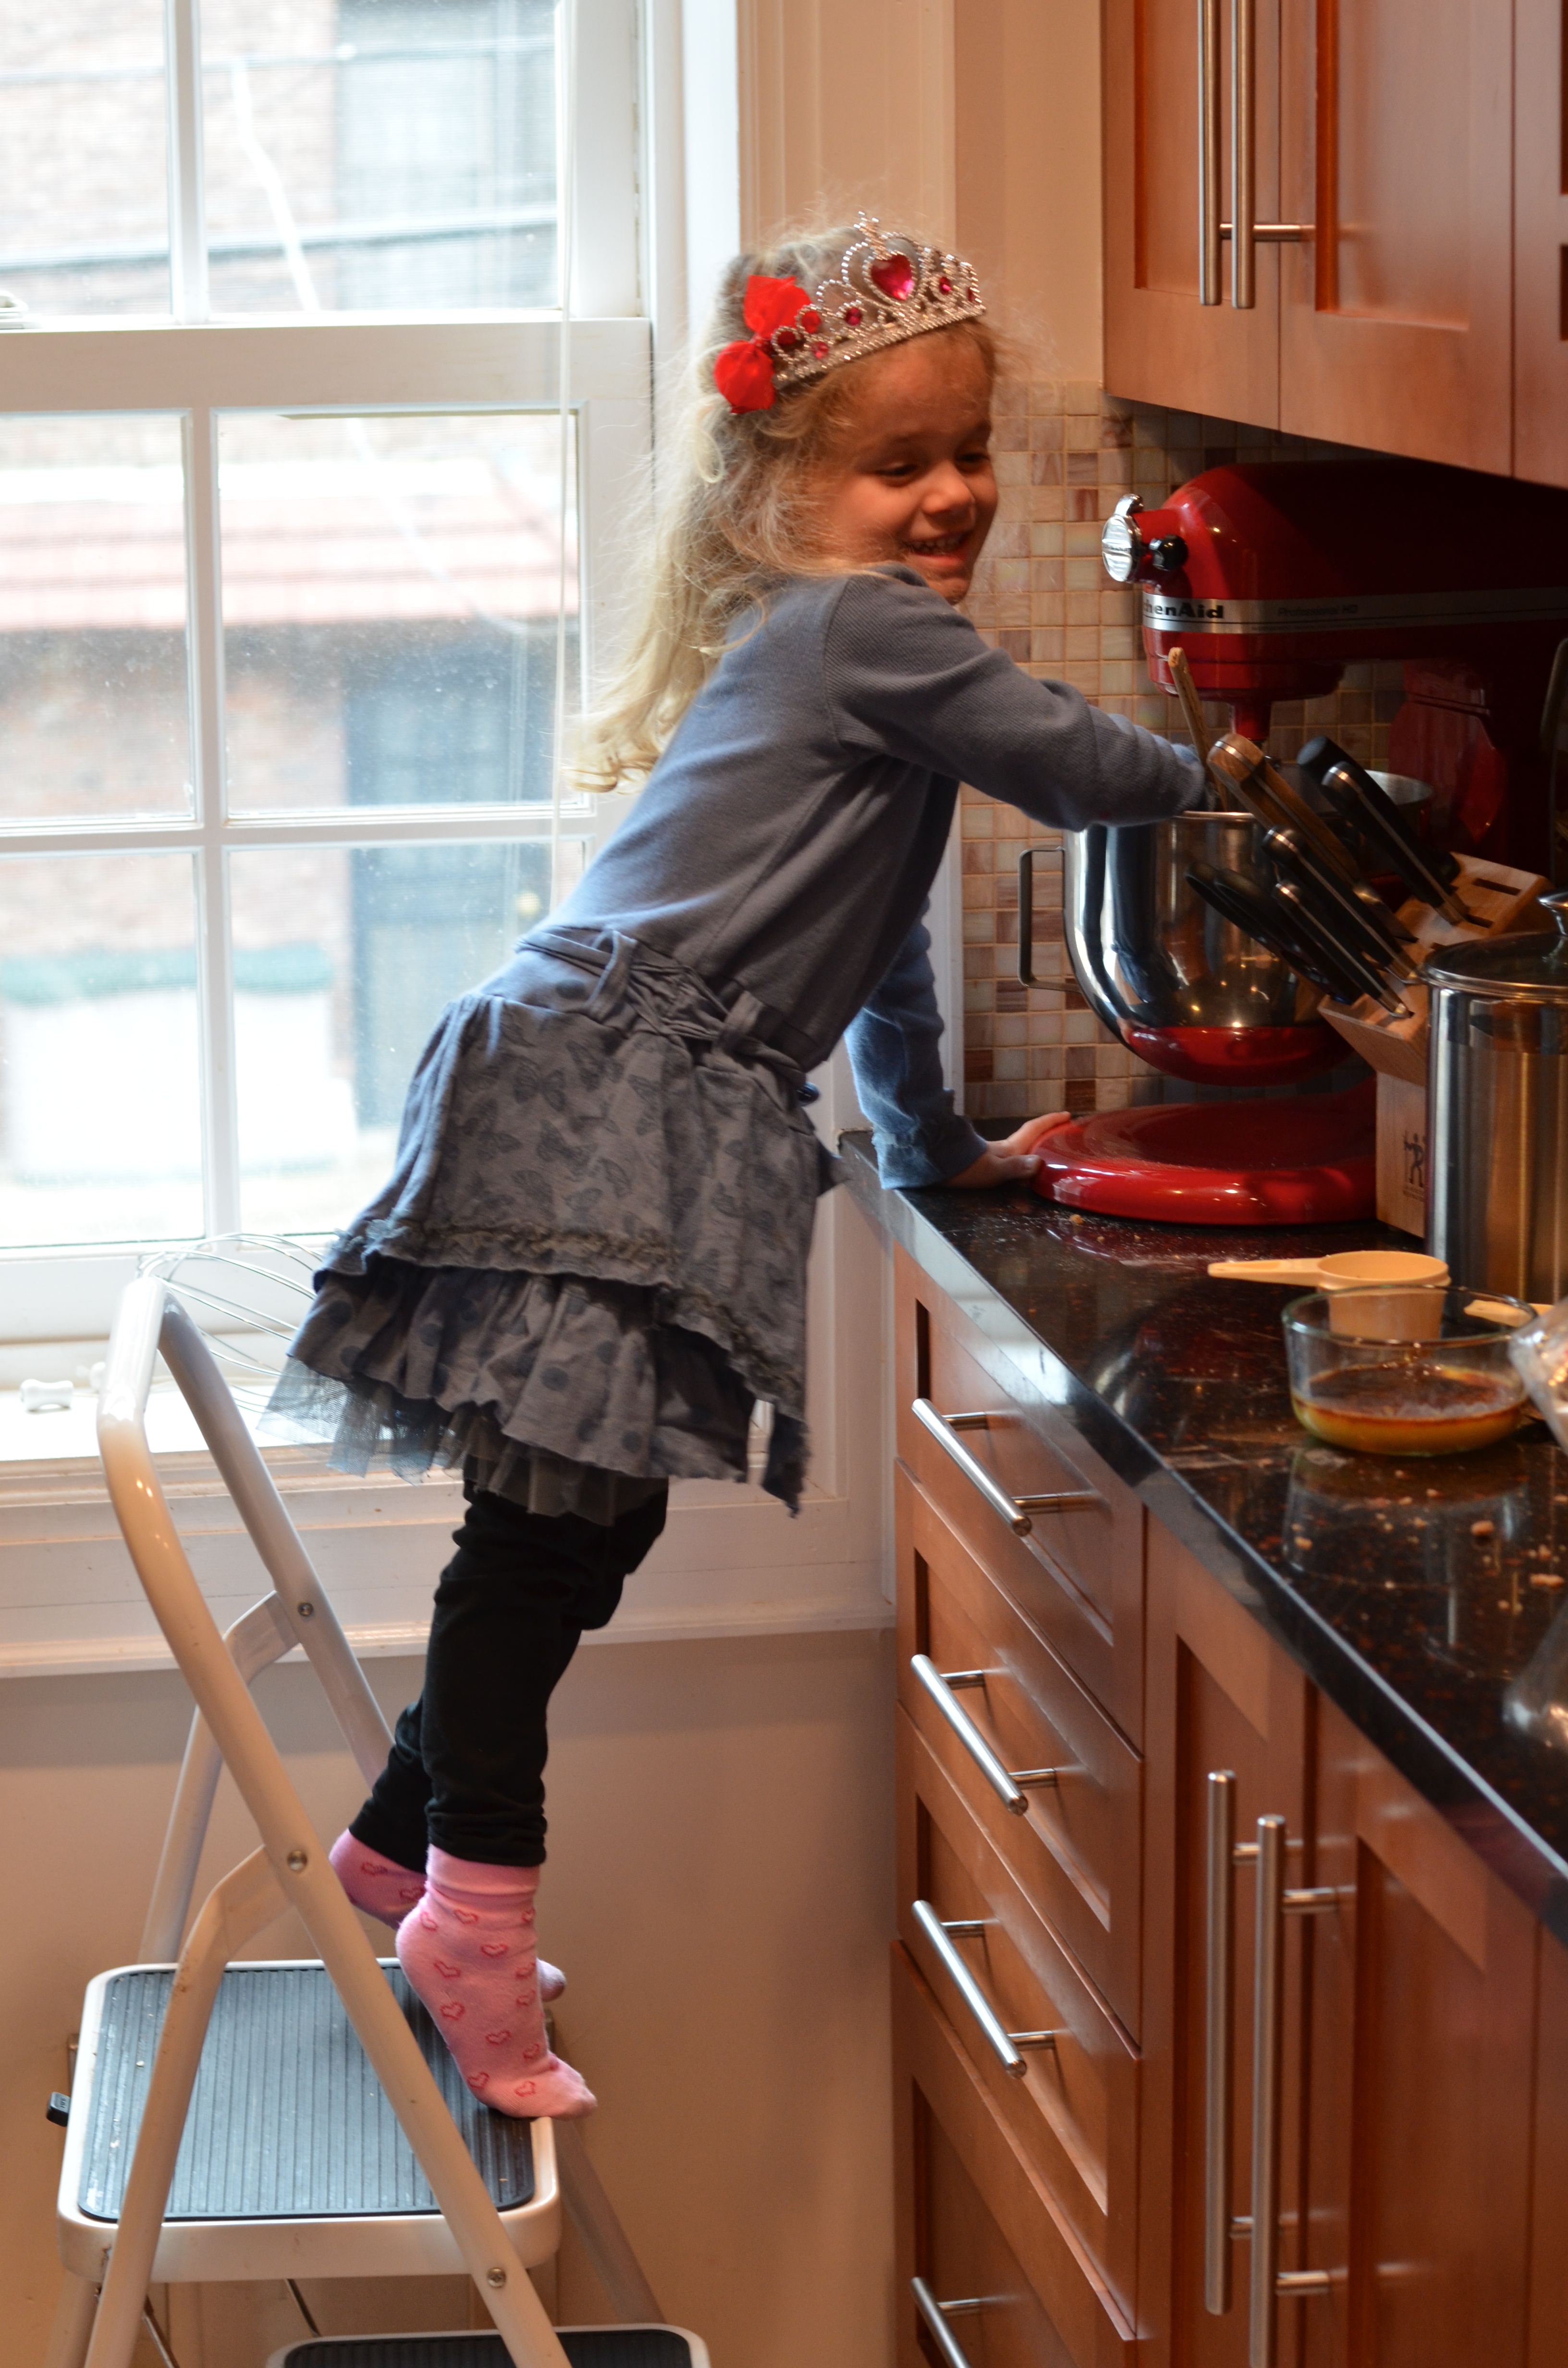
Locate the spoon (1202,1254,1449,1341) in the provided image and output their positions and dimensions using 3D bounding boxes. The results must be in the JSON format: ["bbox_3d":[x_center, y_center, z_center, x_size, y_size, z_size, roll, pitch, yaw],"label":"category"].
[{"bbox_3d":[0.270,0.056,0.987,0.072,0.022,0.039,-3,16,4],"label":"spoon"}]

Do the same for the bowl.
[{"bbox_3d":[0.271,0.084,0.916,0.106,0.059,0.102,-2,11,0],"label":"bowl"}]

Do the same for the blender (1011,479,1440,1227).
[{"bbox_3d":[0.318,-0.208,1.384,0.300,0.392,0.238,5,11,35],"label":"blender"}]
